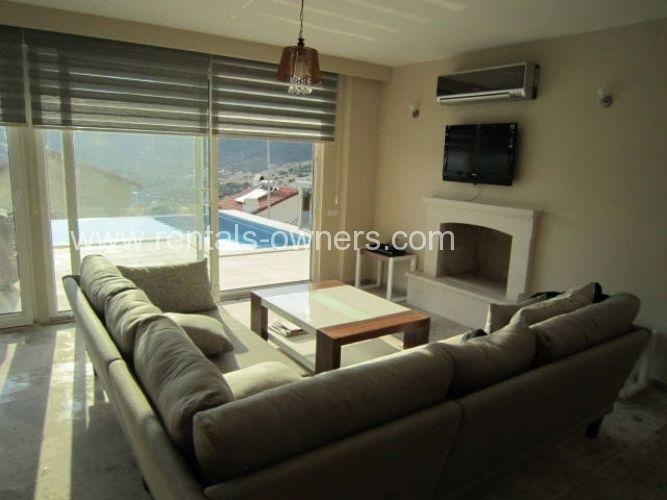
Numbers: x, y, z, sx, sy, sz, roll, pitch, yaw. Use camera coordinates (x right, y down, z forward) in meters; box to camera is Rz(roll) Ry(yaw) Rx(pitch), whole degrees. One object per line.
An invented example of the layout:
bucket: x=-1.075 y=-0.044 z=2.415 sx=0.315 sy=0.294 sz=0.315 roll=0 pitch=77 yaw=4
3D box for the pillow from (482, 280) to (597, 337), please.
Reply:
pillow: x=1.416 y=0.466 z=3.233 sx=0.517 sy=0.148 sz=0.481 roll=-23 pitch=-2 yaw=-5

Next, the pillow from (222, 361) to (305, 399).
pillow: x=-0.465 y=0.768 z=2.886 sx=0.343 sy=0.090 sz=0.225 roll=-4 pitch=14 yaw=-33

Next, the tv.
tv: x=1.520 y=-1.019 z=5.063 sx=0.115 sy=0.684 sz=0.858 roll=-12 pitch=11 yaw=-36
